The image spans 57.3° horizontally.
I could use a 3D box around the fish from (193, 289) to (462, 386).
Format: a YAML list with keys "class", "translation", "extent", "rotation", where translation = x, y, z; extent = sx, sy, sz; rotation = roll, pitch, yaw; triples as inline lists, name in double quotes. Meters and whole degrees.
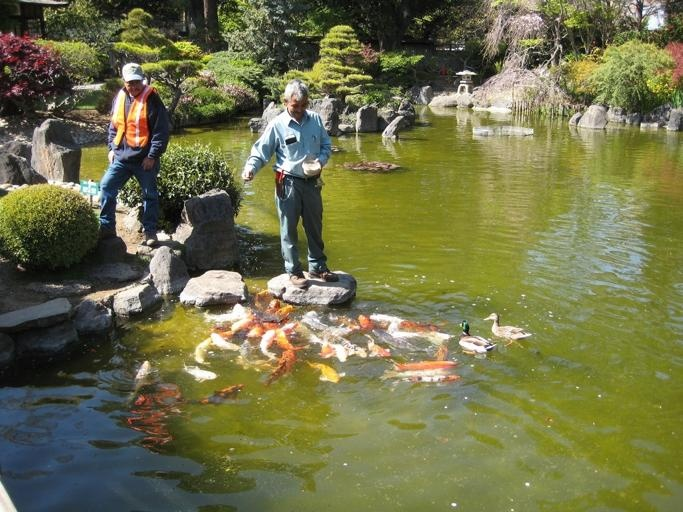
- class: "fish"
  translation: [-0.230, 0.939, 7.329]
  extent: [2.835, 0.534, 1.539]
  rotation: [0, 11, 11]

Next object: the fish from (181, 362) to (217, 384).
- class: "fish"
  translation: [-1.533, 1.259, 6.700]
  extent: [0.228, 0.025, 0.156]
  rotation: [13, 21, 29]

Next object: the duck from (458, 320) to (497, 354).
- class: "duck"
  translation: [1.537, 0.922, 7.090]
  extent: [0.278, 0.346, 0.529]
  rotation: [0, 1, -41]

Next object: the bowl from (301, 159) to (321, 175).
- class: "bowl"
  translation: [-0.383, -1.088, 7.792]
  extent: [0.241, 0.217, 0.242]
  rotation: [-2, 12, 0]

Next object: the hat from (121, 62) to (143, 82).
- class: "hat"
  translation: [-2.959, -2.572, 8.774]
  extent: [0.229, 0.177, 0.331]
  rotation: [-8, 29, -16]

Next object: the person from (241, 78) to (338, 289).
- class: "person"
  translation: [-0.628, -0.880, 7.992]
  extent: [1.089, 2.616, 0.737]
  rotation: [-5, 12, -12]

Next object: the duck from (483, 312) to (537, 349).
- class: "duck"
  translation: [1.925, 0.888, 7.366]
  extent: [0.632, 0.378, 0.221]
  rotation: [9, -27, 8]

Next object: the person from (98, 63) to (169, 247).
- class: "person"
  translation: [-3.034, -1.423, 8.949]
  extent: [1.100, 2.447, 0.805]
  rotation: [0, 7, -5]

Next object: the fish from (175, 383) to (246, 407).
- class: "fish"
  translation: [-1.345, 1.417, 6.355]
  extent: [0.687, 0.087, 0.240]
  rotation: [-5, 11, -12]
